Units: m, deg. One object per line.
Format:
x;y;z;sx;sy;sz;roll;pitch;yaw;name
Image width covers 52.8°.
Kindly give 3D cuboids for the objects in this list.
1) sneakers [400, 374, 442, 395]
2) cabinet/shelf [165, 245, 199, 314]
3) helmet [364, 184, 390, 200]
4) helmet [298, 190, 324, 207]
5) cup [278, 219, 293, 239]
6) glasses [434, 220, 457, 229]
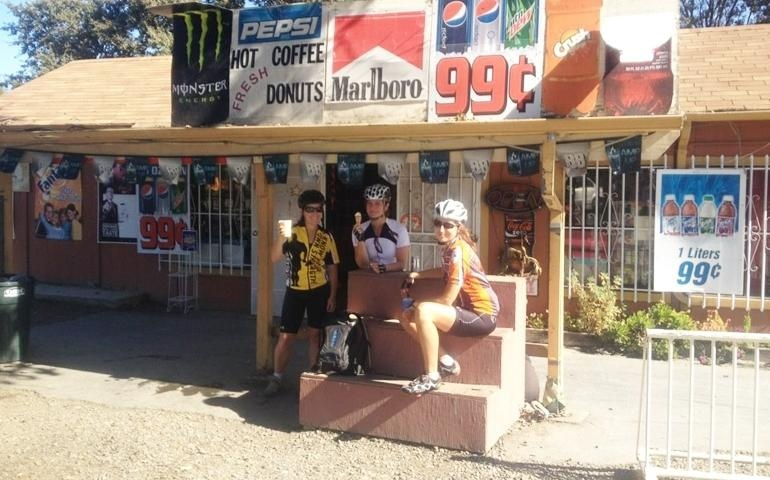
0.541;2.132;11.525;0.490;0.235;0.265;-1;-1;-10;sneakers
-4.566;0.870;17.329;0.563;1.350;0.571;1;6;9;cabinet/shelf
-0.132;-0.769;12.539;0.350;0.234;0.257;5;3;22;helmet
-1.216;-0.667;12.708;0.396;0.305;0.237;3;3;-7;helmet
-1.628;-0.178;12.562;0.184;0.290;0.386;3;3;2;cup
0.903;-0.236;11.652;0.307;0.117;0.092;4;3;1;glasses
